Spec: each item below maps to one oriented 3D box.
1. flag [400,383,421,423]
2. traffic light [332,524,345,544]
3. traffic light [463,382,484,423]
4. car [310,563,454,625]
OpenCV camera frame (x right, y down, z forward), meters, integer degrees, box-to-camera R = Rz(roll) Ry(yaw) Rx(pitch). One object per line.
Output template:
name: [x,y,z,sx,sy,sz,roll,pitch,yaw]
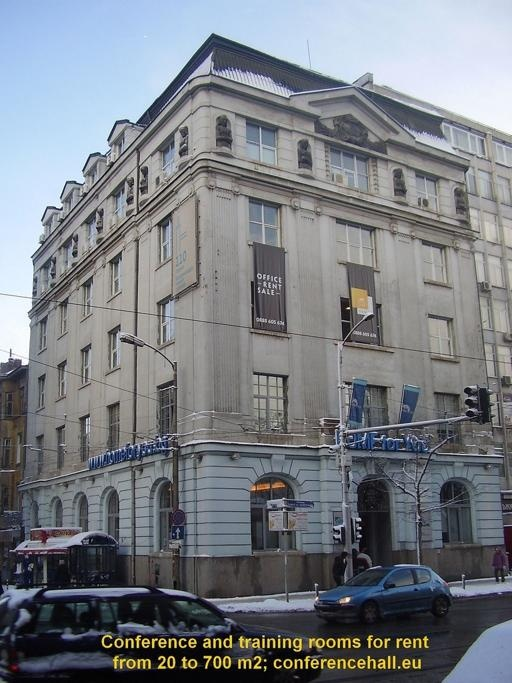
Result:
flag: [7.555,3.074,35.239,1.496,2.652,0.263,14,-17,-32]
traffic light: [3.050,7.089,26.317,0.420,0.698,0.903,-3,-15,6]
traffic light: [6.499,1.841,21.288,0.546,1.169,1.270,-6,-16,16]
car: [3.394,6.935,19.508,3.503,1.326,1.683,11,-25,-26]
